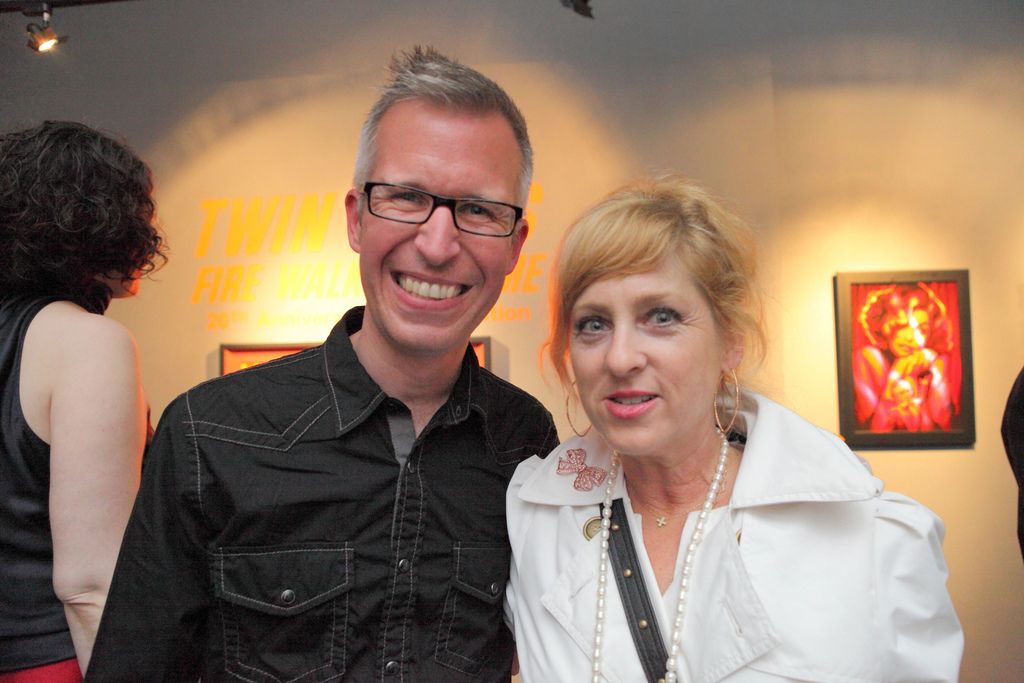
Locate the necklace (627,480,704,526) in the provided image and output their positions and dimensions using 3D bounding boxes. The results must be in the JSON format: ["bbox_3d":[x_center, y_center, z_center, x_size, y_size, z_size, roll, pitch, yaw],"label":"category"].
[{"bbox_3d":[0.549,0.607,3.130,0.155,0.087,0.194,1,-28,4],"label":"necklace"}]
